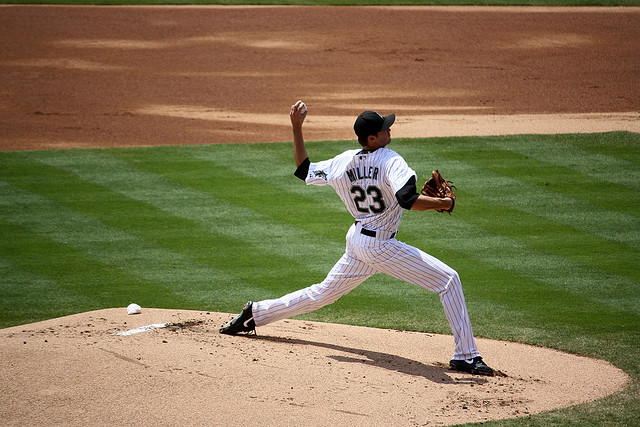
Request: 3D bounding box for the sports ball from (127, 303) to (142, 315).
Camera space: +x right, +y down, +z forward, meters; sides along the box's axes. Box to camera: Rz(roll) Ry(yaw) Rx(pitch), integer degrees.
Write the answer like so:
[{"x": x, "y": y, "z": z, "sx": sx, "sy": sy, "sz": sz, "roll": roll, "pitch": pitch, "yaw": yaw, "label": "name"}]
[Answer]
[{"x": -3.756, "y": 1.938, "z": 27.817, "sx": 0.294, "sy": 0.187, "sz": 0.355, "roll": 2, "pitch": 6, "yaw": -8, "label": "sports ball"}]
